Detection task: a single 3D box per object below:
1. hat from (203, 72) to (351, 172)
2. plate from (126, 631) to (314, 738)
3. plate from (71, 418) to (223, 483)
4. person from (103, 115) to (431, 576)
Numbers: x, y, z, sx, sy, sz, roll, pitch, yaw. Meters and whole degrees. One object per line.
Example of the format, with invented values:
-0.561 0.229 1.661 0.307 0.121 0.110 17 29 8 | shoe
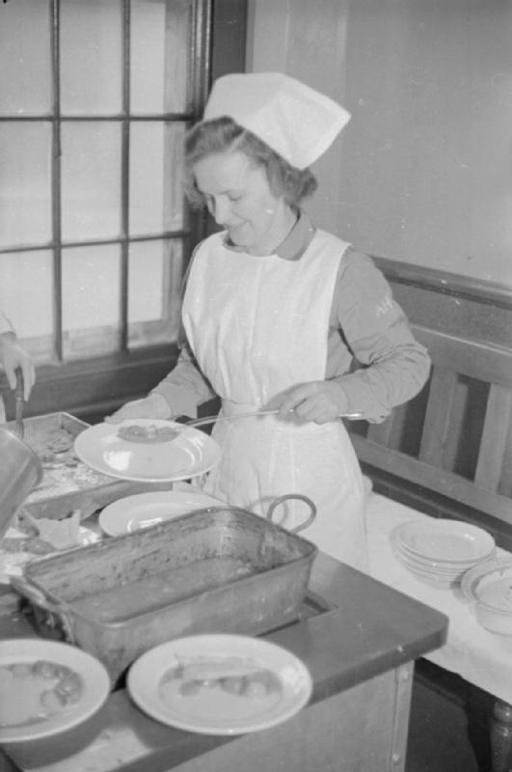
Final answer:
0.035 -0.458 1.232 0.193 0.158 0.059 26 5 -6 | hat
-0.028 0.242 0.585 0.096 0.015 0.100 3 18 -4 | plate
-0.165 0.097 1.055 0.127 0.016 0.131 -4 24 -24 | plate
0.040 -0.043 1.270 0.512 0.806 0.396 6 12 15 | person
